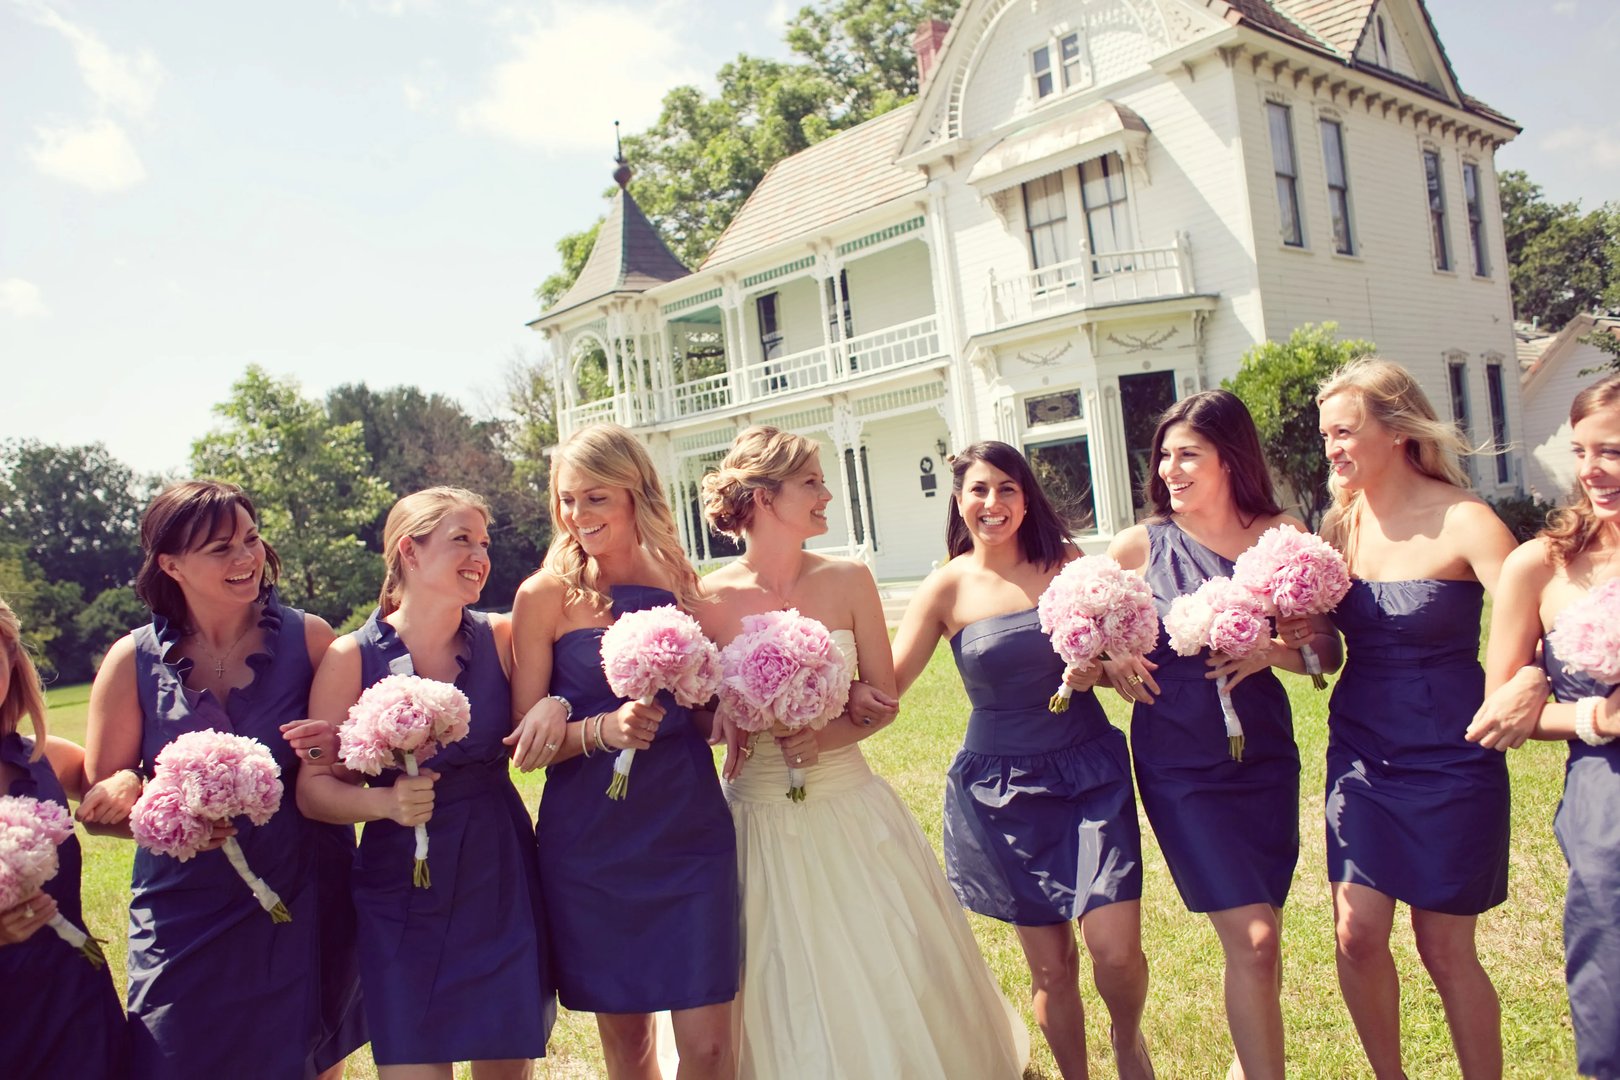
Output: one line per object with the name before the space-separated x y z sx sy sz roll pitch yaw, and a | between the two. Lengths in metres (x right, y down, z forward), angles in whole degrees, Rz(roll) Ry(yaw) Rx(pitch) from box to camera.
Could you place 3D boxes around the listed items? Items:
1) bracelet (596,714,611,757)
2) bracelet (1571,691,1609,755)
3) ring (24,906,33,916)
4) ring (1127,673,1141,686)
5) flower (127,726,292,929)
bracelet | -1.034 0.942 6.137 0.063 0.183 0.189 -6 -1 -11
bracelet | 3.490 0.806 5.649 0.075 0.194 0.188 14 -32 -2
ring | -3.512 1.652 5.627 0.025 0.036 0.020 -2 10 -5
ring | 1.641 0.719 6.409 0.049 0.068 0.019 -17 -29 -22
flower | -2.822 1.353 5.877 0.562 0.683 0.495 -34 26 -7
